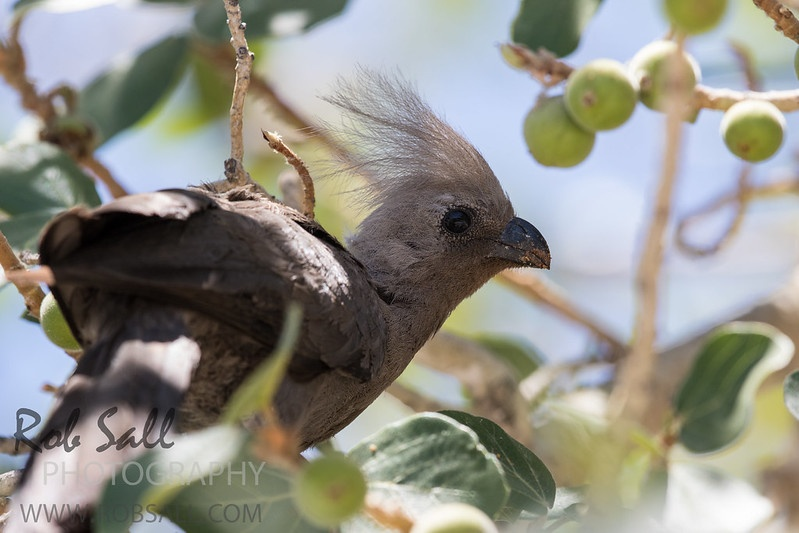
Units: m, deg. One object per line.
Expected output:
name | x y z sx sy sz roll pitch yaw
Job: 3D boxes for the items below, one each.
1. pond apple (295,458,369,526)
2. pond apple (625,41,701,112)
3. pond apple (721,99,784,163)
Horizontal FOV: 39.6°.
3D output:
pond apple | -0.201 0.778 3.886 0.234 0.230 0.231 -1 -19 22
pond apple | 1.026 -0.787 4.490 0.219 0.317 0.108 29 0 15
pond apple | 1.379 -0.532 4.365 0.294 0.268 0.183 1 18 19
